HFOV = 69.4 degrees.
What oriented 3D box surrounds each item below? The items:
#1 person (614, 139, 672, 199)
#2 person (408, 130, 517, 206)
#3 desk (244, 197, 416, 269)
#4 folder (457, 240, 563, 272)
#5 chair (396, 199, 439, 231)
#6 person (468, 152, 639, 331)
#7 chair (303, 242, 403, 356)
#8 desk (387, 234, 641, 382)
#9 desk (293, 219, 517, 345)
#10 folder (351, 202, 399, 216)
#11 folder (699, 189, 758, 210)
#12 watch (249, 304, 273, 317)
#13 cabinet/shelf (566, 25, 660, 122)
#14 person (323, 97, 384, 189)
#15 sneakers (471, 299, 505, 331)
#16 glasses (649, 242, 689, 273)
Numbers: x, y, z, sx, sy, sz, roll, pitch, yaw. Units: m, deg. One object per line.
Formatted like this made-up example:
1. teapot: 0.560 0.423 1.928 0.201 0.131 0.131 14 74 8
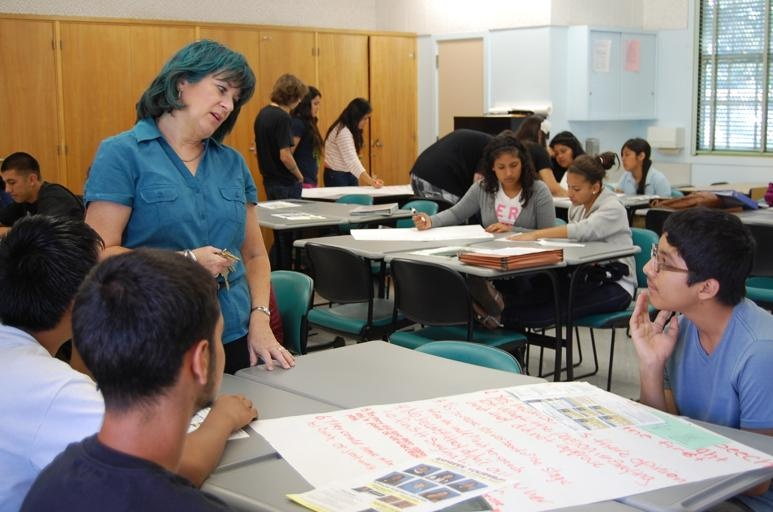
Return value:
1. person: 2.817 -0.950 6.142 0.455 0.701 0.802 -7 14 -12
2. person: 0.633 -0.840 5.329 0.829 0.821 0.676 -2 35 -33
3. desk: -0.333 -0.117 5.119 1.227 0.343 0.844 -7 -5 2
4. folder: 0.741 -0.019 3.287 0.551 0.102 0.641 6 16 28
5. chair: 0.300 -0.363 5.003 0.282 0.449 0.300 1 -1 33
6. person: 1.177 -0.126 3.838 1.040 1.034 0.733 -9 4 -4
7. chair: -0.179 0.338 3.793 0.552 0.899 0.658 6 7 41
8. desk: 0.940 0.403 3.682 1.265 0.732 1.245 -6 -3 -12
9. desk: 0.143 0.164 3.419 0.904 0.218 0.647 11 15 44
10. folder: -0.129 -0.402 4.767 0.398 0.079 0.322 -4 14 -10
11. folder: 2.744 -0.426 4.410 0.231 0.058 0.242 9 5 -44
12. watch: -0.439 0.190 1.957 0.049 0.027 0.049 -1 0 12
13. cabinet/shelf: 3.308 -2.625 8.304 1.519 1.315 0.527 -10 13 -27
14. person: -0.404 -1.272 6.442 0.429 1.010 0.887 -13 18 -37
15. sneakers: 0.565 0.349 3.194 0.193 0.069 0.128 36 9 -12
16. glasses: 0.899 0.008 1.779 0.084 0.025 0.082 11 8 -6
